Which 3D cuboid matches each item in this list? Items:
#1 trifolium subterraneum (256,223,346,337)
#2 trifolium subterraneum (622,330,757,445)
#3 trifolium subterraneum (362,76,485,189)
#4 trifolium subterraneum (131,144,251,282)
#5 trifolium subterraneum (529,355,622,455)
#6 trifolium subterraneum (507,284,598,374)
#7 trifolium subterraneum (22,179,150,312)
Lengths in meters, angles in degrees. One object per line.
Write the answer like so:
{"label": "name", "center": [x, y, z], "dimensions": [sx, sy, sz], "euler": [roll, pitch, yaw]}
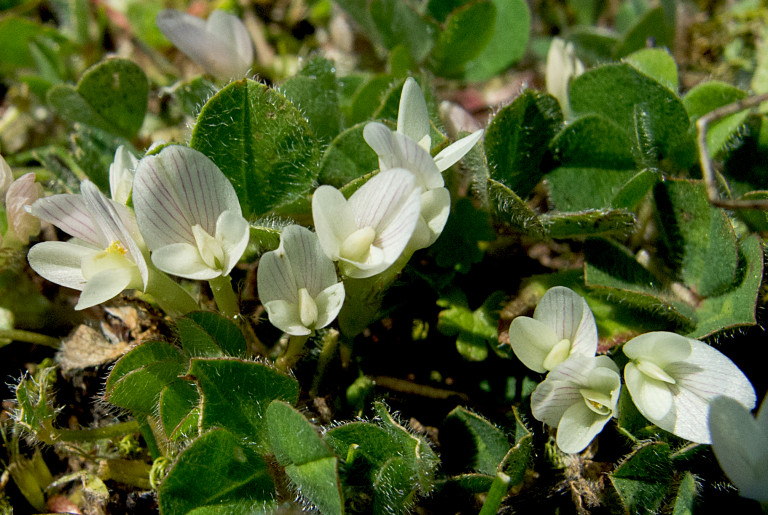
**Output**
{"label": "trifolium subterraneum", "center": [-0.153, 0.040, 1.428], "dimensions": [0.147, 0.198, 0.105], "euler": [-12, -6, -12]}
{"label": "trifolium subterraneum", "center": [0.551, 0.234, 1.451], "dimensions": [0.219, 0.178, 0.151], "euler": [-16, 36, 3]}
{"label": "trifolium subterraneum", "center": [0.052, -0.201, 1.519], "dimensions": [0.225, 0.146, 0.309], "euler": [-5, 6, -7]}
{"label": "trifolium subterraneum", "center": [-0.343, -0.074, 1.418], "dimensions": [0.178, 0.199, 0.163], "euler": [-25, 36, -10]}
{"label": "trifolium subterraneum", "center": [0.355, 0.254, 1.459], "dimensions": [0.166, 0.075, 0.163], "euler": [-33, 58, 38]}
{"label": "trifolium subterraneum", "center": [0.310, 0.155, 1.452], "dimensions": [0.143, 0.080, 0.159], "euler": [-32, 37, -8]}
{"label": "trifolium subterraneum", "center": [-0.538, -0.014, 1.496], "dimensions": [0.211, 0.254, 0.125], "euler": [-9, 3, 7]}
